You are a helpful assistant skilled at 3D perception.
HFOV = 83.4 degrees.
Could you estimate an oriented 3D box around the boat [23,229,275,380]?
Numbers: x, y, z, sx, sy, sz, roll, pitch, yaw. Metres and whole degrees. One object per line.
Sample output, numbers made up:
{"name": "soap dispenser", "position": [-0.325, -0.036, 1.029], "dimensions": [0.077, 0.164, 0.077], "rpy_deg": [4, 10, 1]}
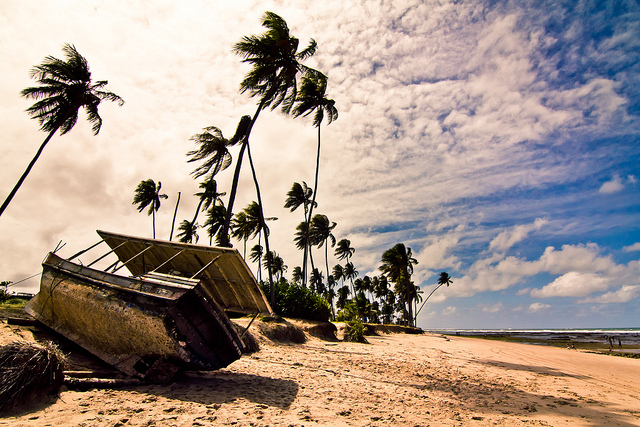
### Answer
{"name": "boat", "position": [-5.605, 3.179, 11.661], "dimensions": [7.924, 3.848, 3.038], "rpy_deg": [11, 38, 28]}

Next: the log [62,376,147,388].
{"name": "log", "position": [-6.126, 4.695, 10.146], "dimensions": [2.257, 0.271, 0.318], "rpy_deg": [11, -13, -13]}
